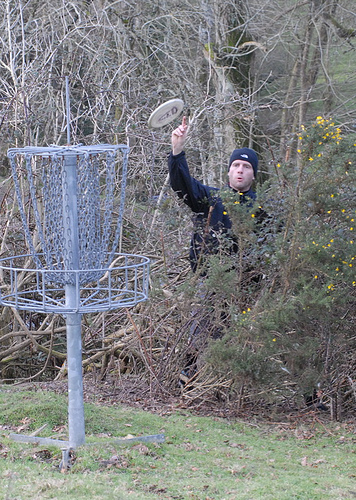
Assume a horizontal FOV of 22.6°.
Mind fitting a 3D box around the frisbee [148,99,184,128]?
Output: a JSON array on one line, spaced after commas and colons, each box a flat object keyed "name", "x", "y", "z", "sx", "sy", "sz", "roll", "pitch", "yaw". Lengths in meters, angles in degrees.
[{"name": "frisbee", "x": -0.092, "y": -1.028, "z": 6.763, "sx": 0.240, "sy": 0.207, "sz": 0.451, "roll": 3, "pitch": 8, "yaw": -1}]

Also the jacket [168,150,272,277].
[{"name": "jacket", "x": 0.174, "y": -0.304, "z": 7.353, "sx": 0.831, "sy": 0.964, "sz": 0.259, "roll": 4, "pitch": 19, "yaw": 9}]
